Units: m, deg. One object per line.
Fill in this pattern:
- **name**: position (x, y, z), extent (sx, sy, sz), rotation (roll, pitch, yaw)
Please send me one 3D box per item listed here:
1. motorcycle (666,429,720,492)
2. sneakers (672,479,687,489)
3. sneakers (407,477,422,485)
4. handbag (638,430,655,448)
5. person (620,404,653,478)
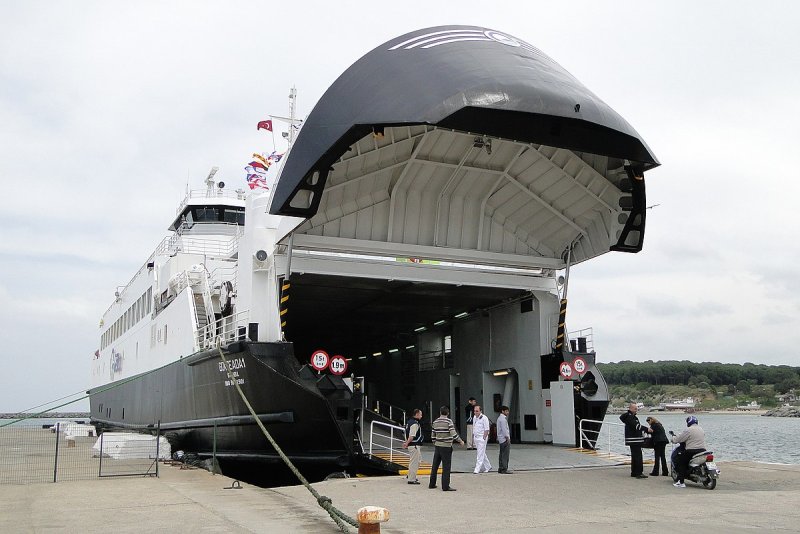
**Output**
- **motorcycle**: position (7.487, 4.922, 17.088), extent (0.765, 1.313, 1.701), rotation (0, -9, -12)
- **sneakers**: position (6.953, 5.407, 16.626), extent (0.145, 0.157, 0.358), rotation (8, -9, -35)
- **sneakers**: position (0.388, 5.600, 17.486), extent (0.382, 0.155, 0.130), rotation (1, -5, -11)
- **handbag**: position (6.781, 4.701, 18.267), extent (0.450, 0.417, 0.748), rotation (3, -16, 10)
- **person**: position (6.540, 4.786, 18.503), extent (0.708, 1.958, 1.438), rotation (-4, -13, 18)
